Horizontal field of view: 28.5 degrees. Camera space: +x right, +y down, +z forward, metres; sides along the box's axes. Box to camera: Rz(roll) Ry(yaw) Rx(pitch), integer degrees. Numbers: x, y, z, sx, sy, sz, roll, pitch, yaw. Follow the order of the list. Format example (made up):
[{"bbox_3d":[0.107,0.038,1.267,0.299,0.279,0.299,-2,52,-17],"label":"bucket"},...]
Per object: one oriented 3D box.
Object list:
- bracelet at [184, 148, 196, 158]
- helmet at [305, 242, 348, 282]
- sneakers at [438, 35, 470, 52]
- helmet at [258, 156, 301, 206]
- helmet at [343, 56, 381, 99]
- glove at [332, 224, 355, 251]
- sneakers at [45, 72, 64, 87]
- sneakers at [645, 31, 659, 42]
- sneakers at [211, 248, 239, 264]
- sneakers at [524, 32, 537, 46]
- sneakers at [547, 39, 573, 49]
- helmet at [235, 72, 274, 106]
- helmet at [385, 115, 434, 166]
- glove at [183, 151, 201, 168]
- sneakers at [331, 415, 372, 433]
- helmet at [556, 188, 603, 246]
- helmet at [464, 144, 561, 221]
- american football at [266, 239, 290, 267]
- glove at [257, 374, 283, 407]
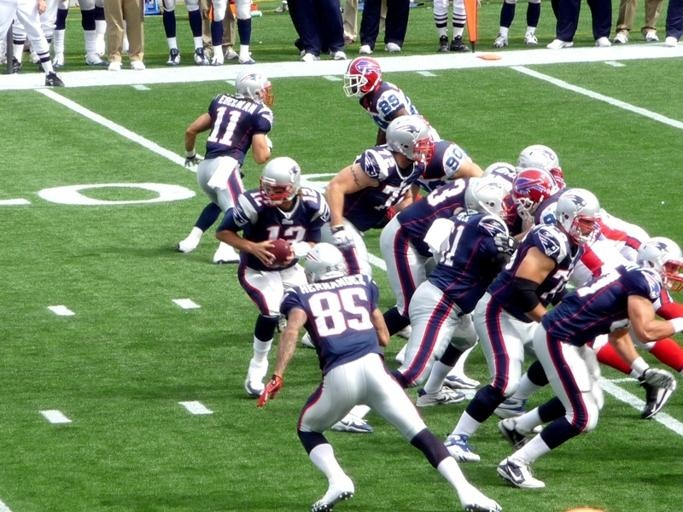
[{"bbox_3d":[-1.312,-0.918,11.594,0.073,0.065,0.086,25,60,33],"label":"bracelet"},{"bbox_3d":[-0.097,0.049,8.244,0.267,0.185,0.212,-25,-12,7],"label":"helmet"},{"bbox_3d":[1.589,-2.953,18.528,0.554,0.166,0.238,1,-3,4],"label":"sneakers"},{"bbox_3d":[-0.396,-0.551,9.062,0.267,0.245,0.327,19,36,25],"label":"helmet"},{"bbox_3d":[0.172,-1.423,10.597,0.373,0.293,0.281,-2,14,10],"label":"helmet"},{"bbox_3d":[-0.009,-0.130,9.239,0.080,0.087,0.238,-32,24,-2],"label":"glove"},{"bbox_3d":[-3.511,-2.176,16.344,0.215,0.197,0.290,-2,12,-13],"label":"sneakers"},{"bbox_3d":[4.341,-3.129,18.861,0.112,0.124,0.289,2,13,2],"label":"sneakers"},{"bbox_3d":[-0.998,-0.013,11.432,0.238,0.209,0.111,-5,9,-8],"label":"sneakers"},{"bbox_3d":[2.660,-3.104,18.837,0.128,0.159,0.360,1,13,-2],"label":"sneakers"},{"bbox_3d":[2.991,-2.931,18.359,0.372,0.164,0.137,-6,48,-16],"label":"sneakers"},{"bbox_3d":[-0.758,-1.416,11.272,0.313,0.253,0.246,-6,12,-8],"label":"helmet"},{"bbox_3d":[0.461,-0.808,9.371,0.359,0.274,0.269,8,31,-5],"label":"helmet"},{"bbox_3d":[-1.324,-0.866,11.686,0.063,0.156,0.119,31,69,24],"label":"glove"},{"bbox_3d":[0.053,1.104,8.824,0.250,0.087,0.130,0,-1,4],"label":"sneakers"},{"bbox_3d":[1.493,-0.266,8.466,0.337,0.308,0.286,19,18,27],"label":"helmet"},{"bbox_3d":[1.227,-0.555,9.279,0.485,0.360,0.342,-40,16,13],"label":"helmet"},{"bbox_3d":[-0.408,-0.018,9.160,0.149,0.162,0.152,-11,-20,7],"label":"american football"},{"bbox_3d":[-0.439,0.804,8.022,0.142,0.237,0.242,0,12,-4],"label":"glove"}]
